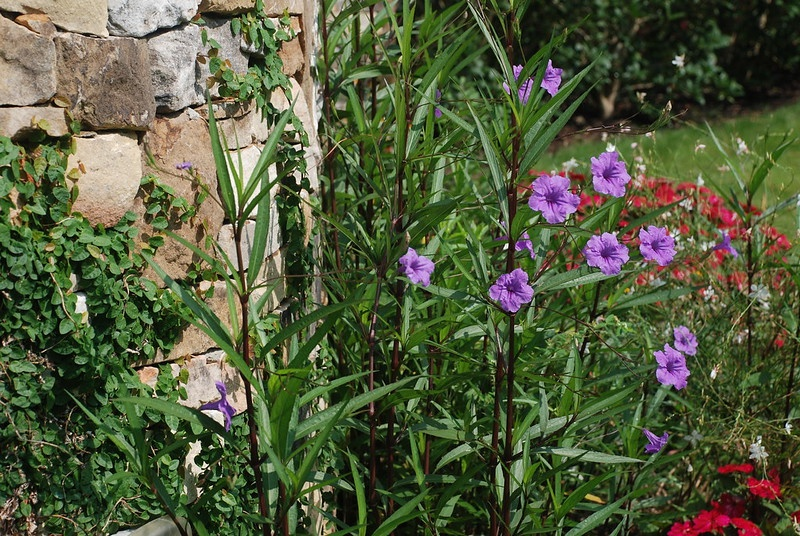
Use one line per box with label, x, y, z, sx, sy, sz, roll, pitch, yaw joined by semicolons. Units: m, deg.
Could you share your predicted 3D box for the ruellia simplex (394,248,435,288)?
ruellia simplex;0.058;-0.001;3.303;0.120;0.147;0.162;-2;31;4
